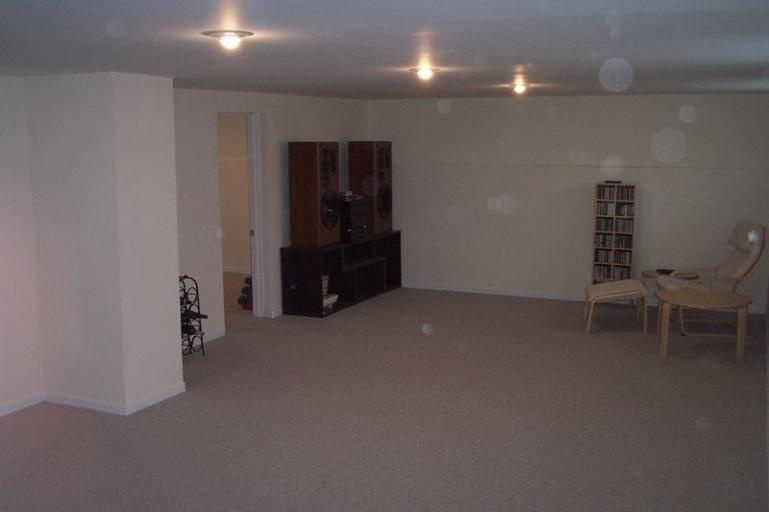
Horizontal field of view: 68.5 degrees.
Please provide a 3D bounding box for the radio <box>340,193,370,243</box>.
[{"bbox_3d":[-0.517,-0.578,8.699,0.359,0.709,0.728,2,8,21],"label":"radio"}]

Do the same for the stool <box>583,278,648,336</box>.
[{"bbox_3d":[3.075,0.686,7.529,0.893,0.607,0.852,-2,-6,5],"label":"stool"}]

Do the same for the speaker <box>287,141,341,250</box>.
[{"bbox_3d":[-0.993,-0.876,8.024,0.712,1.451,0.445,-3,13,-8],"label":"speaker"}]

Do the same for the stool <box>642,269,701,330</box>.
[{"bbox_3d":[3.886,0.514,7.775,0.720,0.454,0.738,-11,18,-27],"label":"stool"}]

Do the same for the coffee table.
[{"bbox_3d":[3.652,0.727,6.655,0.911,0.605,0.905,1,2,21],"label":"coffee table"}]

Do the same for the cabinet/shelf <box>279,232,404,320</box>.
[{"bbox_3d":[-0.571,0.195,8.867,0.622,0.986,2.329,3,10,30],"label":"cabinet/shelf"}]
